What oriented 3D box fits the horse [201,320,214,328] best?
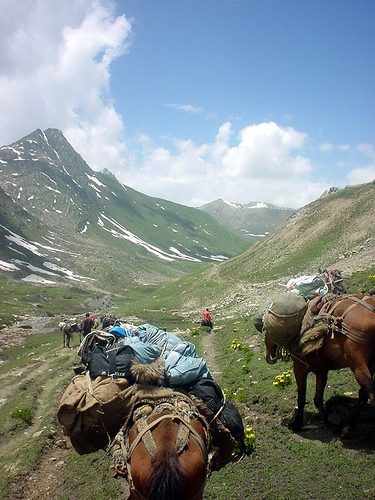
[{"bbox_3d":[1.602,6.535,29.369,0.795,0.599,0.939,-3,-7,-5],"label":"horse"}]

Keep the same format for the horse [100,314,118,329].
[{"bbox_3d":[-1.969,1.772,8.026,0.379,0.335,0.293,-12,27,-43],"label":"horse"}]
